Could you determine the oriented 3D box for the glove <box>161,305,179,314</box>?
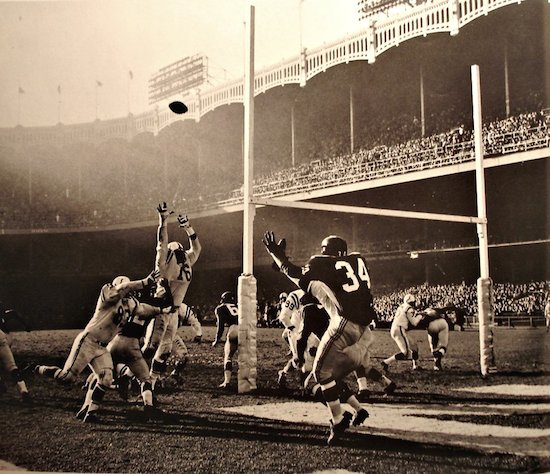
[{"bbox_3d":[-1.664,1.135,12.882,0.139,0.086,0.203,-2,-4,-32],"label":"glove"}]

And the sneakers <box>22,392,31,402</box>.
[{"bbox_3d":[-3.804,2.440,12.523,0.058,0.128,0.066,-19,-29,14],"label":"sneakers"}]

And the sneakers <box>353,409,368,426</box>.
[{"bbox_3d":[1.232,2.603,11.908,0.235,0.249,0.202,-6,-23,30],"label":"sneakers"}]

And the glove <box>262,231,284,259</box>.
[{"bbox_3d":[-0.016,0.097,12.081,0.294,0.400,0.390,1,-3,-2],"label":"glove"}]

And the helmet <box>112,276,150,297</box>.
[{"bbox_3d":[-2.194,0.731,12.452,0.578,0.239,0.377,2,-4,-7],"label":"helmet"}]

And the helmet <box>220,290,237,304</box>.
[{"bbox_3d":[-0.833,1.092,14.825,0.221,0.204,0.429,1,-4,3],"label":"helmet"}]

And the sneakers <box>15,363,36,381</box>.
[{"bbox_3d":[-3.812,2.033,12.607,0.312,0.214,0.125,-36,9,8],"label":"sneakers"}]

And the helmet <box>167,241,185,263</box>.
[{"bbox_3d":[-1.650,0.246,13.811,0.230,0.342,0.310,-9,-22,-43],"label":"helmet"}]

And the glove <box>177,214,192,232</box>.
[{"bbox_3d":[-1.479,-0.290,13.306,0.229,0.310,0.091,2,-22,-33],"label":"glove"}]

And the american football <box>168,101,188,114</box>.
[{"bbox_3d":[-1.614,-2.184,13.649,0.293,0.278,0.084,-3,37,8],"label":"american football"}]

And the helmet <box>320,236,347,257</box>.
[{"bbox_3d":[0.895,0.131,12.390,0.300,0.318,0.255,3,-6,3],"label":"helmet"}]

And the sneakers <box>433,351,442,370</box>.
[{"bbox_3d":[2.934,2.208,14.750,0.084,0.309,0.295,-2,10,9],"label":"sneakers"}]
